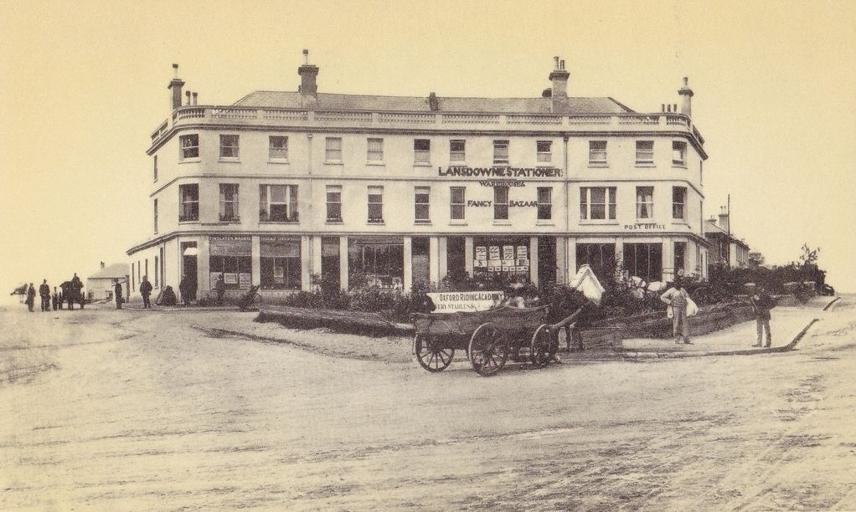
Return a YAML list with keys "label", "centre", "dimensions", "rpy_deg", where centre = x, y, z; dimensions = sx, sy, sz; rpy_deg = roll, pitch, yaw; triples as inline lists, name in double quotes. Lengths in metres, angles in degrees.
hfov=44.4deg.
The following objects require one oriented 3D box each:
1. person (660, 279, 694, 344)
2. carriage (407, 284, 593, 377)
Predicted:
- label: "person"
  centre: [8.446, 1.855, 35.433]
  dimensions: [1.077, 2.180, 0.689]
  rpy_deg: [-3, -6, 2]
- label: "carriage"
  centre: [2.079, 2.535, 31.802]
  dimensions: [5.471, 2.218, 1.998]
  rpy_deg: [3, -9, -27]
